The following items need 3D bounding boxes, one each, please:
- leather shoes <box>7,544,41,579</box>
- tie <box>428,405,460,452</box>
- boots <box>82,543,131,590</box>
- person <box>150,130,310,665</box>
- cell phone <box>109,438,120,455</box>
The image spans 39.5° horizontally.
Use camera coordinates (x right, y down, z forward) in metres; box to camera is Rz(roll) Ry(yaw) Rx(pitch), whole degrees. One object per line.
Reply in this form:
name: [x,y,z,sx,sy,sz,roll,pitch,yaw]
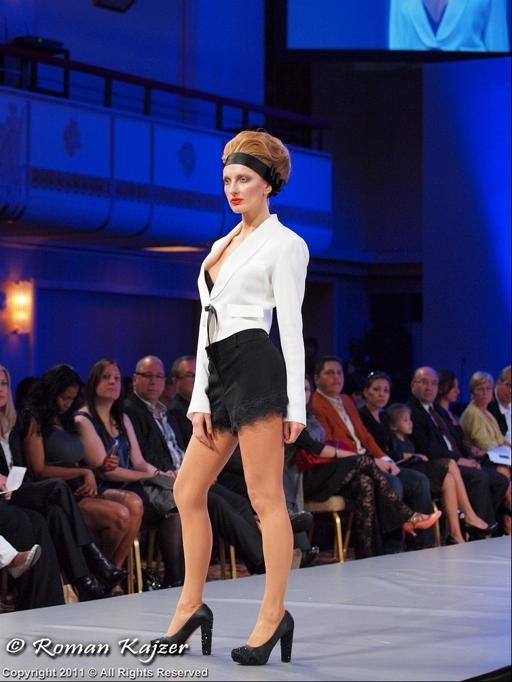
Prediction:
leather shoes: [-0.878,0.834,2.695,0.078,0.176,0.065,31,32,-10]
tie: [1.448,0.680,5.518,0.141,0.343,0.259,-38,0,37]
boots: [-0.668,0.933,3.006,0.298,0.121,0.087,21,-4,-27]
person: [-0.034,0.097,1.754,0.350,1.305,0.266,-3,-4,30]
cell phone: [-0.717,0.531,3.583,0.063,0.107,0.013,-31,-64,35]
